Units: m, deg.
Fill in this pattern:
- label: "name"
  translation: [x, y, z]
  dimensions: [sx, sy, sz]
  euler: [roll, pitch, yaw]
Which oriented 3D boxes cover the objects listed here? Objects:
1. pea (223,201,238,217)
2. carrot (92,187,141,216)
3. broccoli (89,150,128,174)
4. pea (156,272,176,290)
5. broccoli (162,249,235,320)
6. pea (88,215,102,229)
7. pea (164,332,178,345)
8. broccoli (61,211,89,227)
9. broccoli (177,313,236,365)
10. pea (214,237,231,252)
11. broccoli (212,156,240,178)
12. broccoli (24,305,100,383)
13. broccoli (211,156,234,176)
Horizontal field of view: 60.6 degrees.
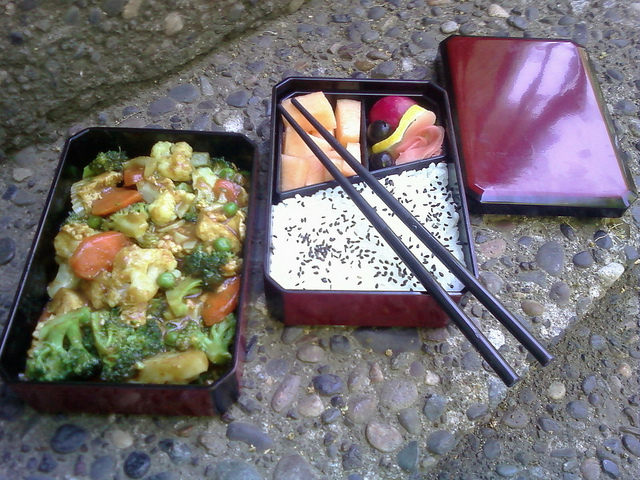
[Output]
- label: "pea"
  translation: [-0.427, -0.144, 2.593]
  dimensions: [0.069, 0.063, 0.052]
  euler: [-21, 59, -11]
- label: "carrot"
  translation: [-0.984, -0.188, 2.599]
  dimensions: [0.206, 0.034, 0.145]
  euler: [-13, 38, -8]
- label: "broccoli"
  translation: [-1.029, -0.377, 2.692]
  dimensions: [0.161, 0.039, 0.134]
  euler: [-17, 44, -27]
- label: "pea"
  translation: [-0.670, 0.176, 2.381]
  dimensions: [0.094, 0.042, 0.060]
  euler: [3, 82, -12]
- label: "broccoli"
  translation: [-0.553, 0.193, 2.431]
  dimensions: [0.299, 0.091, 0.317]
  euler: [22, 82, -4]
- label: "pea"
  translation: [-1.055, -0.084, 2.564]
  dimensions: [0.054, 0.048, 0.055]
  euler: [42, 69, 18]
- label: "pea"
  translation: [-0.634, 0.421, 2.327]
  dimensions: [0.045, 0.058, 0.050]
  euler: [40, 57, -36]
- label: "broccoli"
  translation: [-1.149, -0.096, 2.579]
  dimensions: [0.097, 0.018, 0.070]
  euler: [11, 42, -3]
- label: "broccoli"
  translation: [-0.449, 0.417, 2.304]
  dimensions: [0.286, 0.072, 0.188]
  euler: [-13, 67, -15]
- label: "pea"
  translation: [-0.437, 0.020, 2.460]
  dimensions: [0.073, 0.034, 0.069]
  euler: [-36, 72, -23]
- label: "broccoli"
  translation: [-0.479, -0.373, 2.746]
  dimensions: [0.142, 0.120, 0.034]
  euler: [14, 65, -24]
- label: "broccoli"
  translation: [-1.083, 0.464, 2.287]
  dimensions: [0.364, 0.090, 0.281]
  euler: [-26, 68, -4]
- label: "broccoli"
  translation: [-0.499, -0.372, 2.745]
  dimensions: [0.129, 0.027, 0.082]
  euler: [-13, 76, -3]
